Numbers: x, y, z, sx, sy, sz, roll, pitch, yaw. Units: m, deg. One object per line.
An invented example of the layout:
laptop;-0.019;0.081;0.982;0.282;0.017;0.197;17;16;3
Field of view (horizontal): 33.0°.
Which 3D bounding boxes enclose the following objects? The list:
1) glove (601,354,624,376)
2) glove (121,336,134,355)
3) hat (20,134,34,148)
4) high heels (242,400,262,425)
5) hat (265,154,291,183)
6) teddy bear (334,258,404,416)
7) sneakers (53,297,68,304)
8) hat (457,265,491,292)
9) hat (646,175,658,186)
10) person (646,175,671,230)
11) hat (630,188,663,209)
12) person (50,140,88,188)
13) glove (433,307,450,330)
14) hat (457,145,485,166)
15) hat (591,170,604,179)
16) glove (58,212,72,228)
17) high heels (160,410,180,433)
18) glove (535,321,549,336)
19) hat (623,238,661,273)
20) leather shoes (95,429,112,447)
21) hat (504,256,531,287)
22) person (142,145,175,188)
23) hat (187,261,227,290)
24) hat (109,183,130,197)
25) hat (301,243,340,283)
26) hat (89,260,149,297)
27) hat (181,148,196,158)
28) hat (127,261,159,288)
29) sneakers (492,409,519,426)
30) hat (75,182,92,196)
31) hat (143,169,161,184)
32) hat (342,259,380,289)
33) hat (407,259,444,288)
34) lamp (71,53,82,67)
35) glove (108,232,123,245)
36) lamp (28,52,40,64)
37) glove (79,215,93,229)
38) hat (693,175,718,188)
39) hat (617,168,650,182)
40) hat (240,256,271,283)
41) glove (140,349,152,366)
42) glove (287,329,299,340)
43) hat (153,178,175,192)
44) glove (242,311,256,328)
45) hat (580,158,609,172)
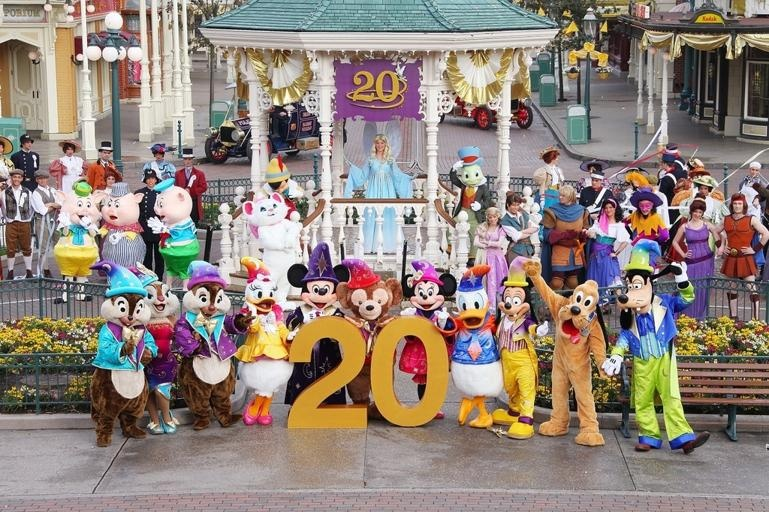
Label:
glove;3.050;1.440;17.337;0.244;0.288;0.423;0;9;17
glove;-3.406;1.206;17.274;0.150;0.240;0.079;1;8;23
hat;-7.164;-2.301;26.064;0.244;0.238;0.316;-5;7;-39
high heels;-1.837;2.165;18.010;0.190;0.393;0.148;28;-18;-32
hat;-1.763;-1.422;21.691;0.386;0.430;0.441;-4;35;-1
teddy bear;-0.193;1.139;17.979;0.882;2.187;0.442;-2;7;-1
sneakers;-5.512;0.760;22.066;0.208;0.126;0.274;-3;-2;-13
hat;1.226;0.306;17.837;0.454;0.385;0.305;0;8;12
hat;4.853;-1.363;23.539;0.170;0.077;0.243;23;11;-7
person;4.697;-0.889;22.281;0.445;1.171;0.442;-2;-29;2
hat;4.303;-0.993;21.411;0.361;0.167;0.406;10;-27;13
person;-6.458;-1.794;26.642;0.851;1.205;0.456;-11;38;-27
glove;0.791;0.861;17.913;0.188;0.255;0.124;4;-7;11
hat;1.452;-1.680;21.842;0.324;0.208;0.328;-5;9;-2
hat;3.735;-1.395;22.745;0.207;0.153;0.257;-2;8;2
glove;-5.470;-0.595;22.169;0.235;0.239;0.070;10;-2;-14
high heels;-2.943;2.315;17.864;0.130;0.098;0.368;-8;50;-17
glove;2.144;0.975;17.579;0.167;0.198;0.096;4;21;5
hat;3.489;0.076;17.638;0.424;0.445;0.454;13;-32;21
leather shoes;-3.753;2.425;17.421;0.237;0.315;0.218;1;-4;-4
hat;1.819;0.212;17.768;0.370;0.413;0.366;1;5;8
person;-4.388;-1.724;25.303;0.656;0.849;0.403;-3;-13;-12
hat;-2.520;0.273;17.865;0.383;0.297;0.500;2;-3;-27
hat;-4.496;-1.121;22.066;0.279;0.156;0.281;0;6;-10
hat;-0.895;0.080;18.187;0.525;0.541;0.406;0;1;-2
hat;-3.573;0.309;17.451;0.612;0.406;0.460;-3;0;-7
hat;-3.788;-1.949;24.792;0.314;0.164;0.273;3;8;37
hat;-3.339;0.291;17.960;0.379;0.274;0.138;2;-37;15
sneakers;1.677;2.224;17.985;0.336;0.232;0.172;4;5;14
hat;-5.173;-1.145;22.219;0.273;0.250;0.334;-4;9;-13
hat;-4.181;-1.428;23.336;0.345;0.140;0.467;0;-1;-10
hat;-0.342;0.257;17.933;0.420;0.295;0.432;-34;27;-23
hat;0.576;0.244;18.104;0.444;0.277;0.325;19;-23;-39
lamp;-9.688;-6.175;40.951;0.341;0.488;0.562;1;5;-6
glove;-4.533;-0.303;21.871;0.160;0.220;0.077;27;-15;2
lamp;-10.977;-6.181;40.555;0.280;0.387;0.462;1;8;3
glove;-5.078;-0.567;22.093;0.181;0.105;0.228;1;14;-29
hat;5.607;-1.301;22.708;0.260;0.085;0.259;10;-3;-40
hat;5.295;-1.719;27.663;0.568;0.265;0.806;9;10;-4
hat;-1.786;0.166;18.166;0.435;0.357;0.317;-11;9;2
glove;-3.194;1.373;17.443;0.155;0.207;0.182;5;-10;-9
glove;-1.274;1.090;17.992;0.048;0.139;0.146;37;21;-12
hat;-3.689;-1.160;21.705;0.307;0.245;0.539;-4;9;-10
glove;-1.867;0.860;17.683;0.129;0.204;0.209;4;36;-11
hat;3.709;-1.593;23.077;0.544;0.142;0.552;2;9;1
